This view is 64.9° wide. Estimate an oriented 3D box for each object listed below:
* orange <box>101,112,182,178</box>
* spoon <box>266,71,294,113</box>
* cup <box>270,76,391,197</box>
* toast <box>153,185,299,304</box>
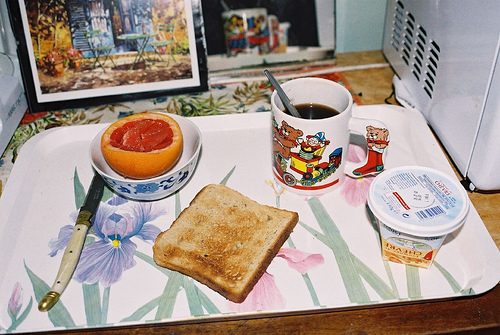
[{"bbox_3d":[-0.241,-0.024,0.873,0.194,0.194,0.113,4,77,-20],"label":"orange"},{"bbox_3d":[0.062,-0.154,0.821,0.027,0.082,0.092,-22,40,-21],"label":"spoon"},{"bbox_3d":[0.129,-0.091,0.904,0.293,0.227,0.191,18,49,20],"label":"cup"},{"bbox_3d":[-0.053,0.141,0.792,0.234,0.073,0.215,16,42,25],"label":"toast"}]
